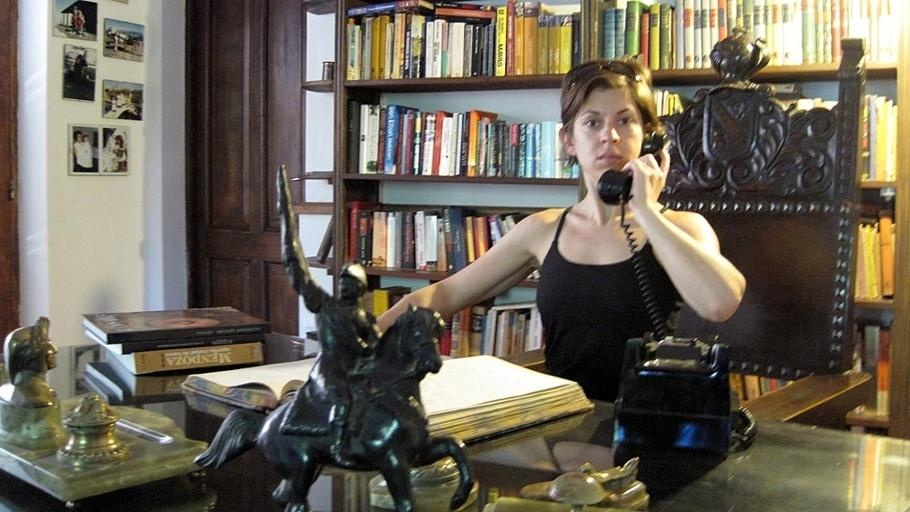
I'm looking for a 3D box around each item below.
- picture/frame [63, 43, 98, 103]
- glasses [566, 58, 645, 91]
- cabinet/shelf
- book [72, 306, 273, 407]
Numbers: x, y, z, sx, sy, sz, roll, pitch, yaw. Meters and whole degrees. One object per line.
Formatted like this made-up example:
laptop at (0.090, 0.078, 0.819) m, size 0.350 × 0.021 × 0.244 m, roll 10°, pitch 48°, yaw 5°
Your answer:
picture/frame at (-2.464, -1.203, 4.453) m, size 0.025 × 0.357 × 0.231 m, roll 2°, pitch 8°, yaw 35°
glasses at (0.506, -0.579, 2.225) m, size 0.134 × 0.065 × 0.168 m, roll -6°, pitch -5°, yaw 41°
cabinet/shelf at (0.512, -0.096, 2.967) m, size 1.453 × 2.133 × 1.353 m, roll -1°, pitch -5°, yaw 34°
book at (-0.805, 0.267, 2.007) m, size 0.302 × 0.095 × 0.316 m, roll 9°, pitch 11°, yaw 40°
